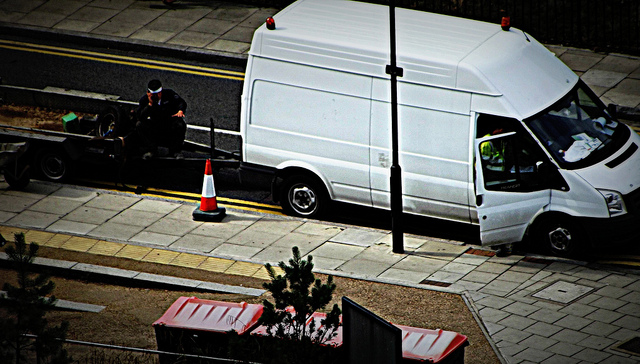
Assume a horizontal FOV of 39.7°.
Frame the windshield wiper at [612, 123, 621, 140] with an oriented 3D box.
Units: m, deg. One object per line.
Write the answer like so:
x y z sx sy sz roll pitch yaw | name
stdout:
6.617 -1.116 19.757 0.072 0.018 0.518 15 52 39 | windshield wiper

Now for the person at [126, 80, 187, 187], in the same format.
-3.995 -1.425 21.603 1.416 2.114 0.508 1 12 -8 | person
